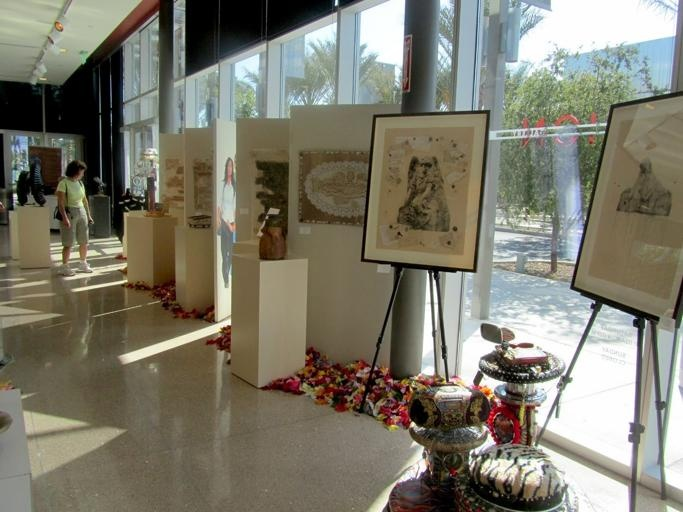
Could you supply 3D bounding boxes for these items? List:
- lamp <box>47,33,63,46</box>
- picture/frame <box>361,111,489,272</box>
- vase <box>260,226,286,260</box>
[{"bbox_3d":[-5.265,-4.029,9.469,0.257,0.254,0.318,4,10,-36],"label":"lamp"},{"bbox_3d":[0.648,-0.506,3.954,1.127,1.572,0.082,7,2,27],"label":"picture/frame"},{"bbox_3d":[-0.609,-0.124,4.664,0.251,0.364,0.259,-1,2,-43],"label":"vase"}]
